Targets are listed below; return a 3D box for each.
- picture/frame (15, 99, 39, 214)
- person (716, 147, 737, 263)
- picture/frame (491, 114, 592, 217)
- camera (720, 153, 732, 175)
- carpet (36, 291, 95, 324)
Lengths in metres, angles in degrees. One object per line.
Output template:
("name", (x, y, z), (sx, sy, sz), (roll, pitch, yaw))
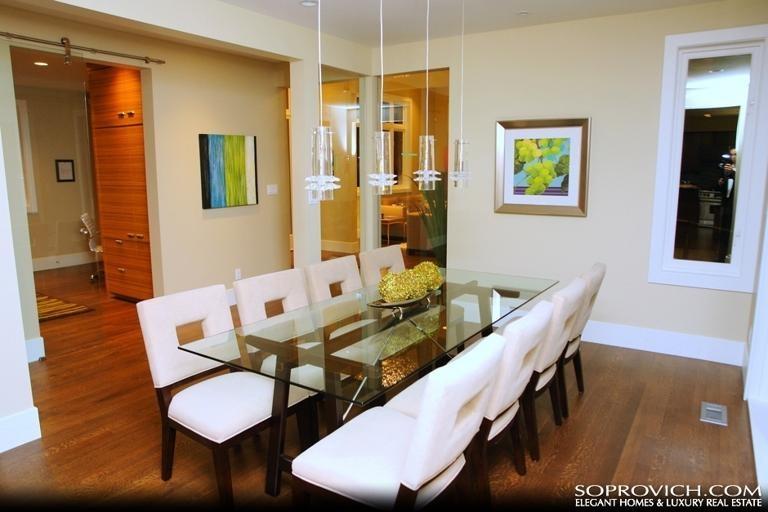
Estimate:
("picture/frame", (-3.642, -1.001, 5.240), (0.136, 1.151, 0.368), (-8, 15, -30))
("person", (3.485, -0.505, 5.203), (0.132, 1.131, 0.174), (2, 14, 12))
("picture/frame", (1.837, -1.044, 5.825), (1.175, 1.163, 0.091), (4, 6, 30))
("camera", (3.465, -0.919, 5.191), (0.128, 0.176, 0.063), (8, 0, 23))
("carpet", (-3.864, 0.582, 6.192), (0.526, 0.355, 0.253), (-9, 16, -34))
